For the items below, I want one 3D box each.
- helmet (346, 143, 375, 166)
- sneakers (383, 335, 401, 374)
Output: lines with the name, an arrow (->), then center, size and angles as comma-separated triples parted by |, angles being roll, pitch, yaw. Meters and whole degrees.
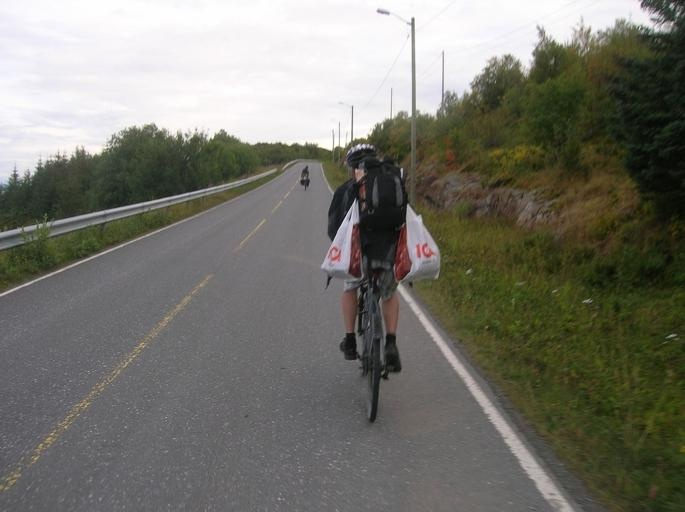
helmet -> 0.207, -1.191, 6.675 | 0.268, 0.334, 0.240 | 13, 9, 18
sneakers -> 0.550, 1.123, 6.352 | 0.176, 0.439, 0.277 | 2, 13, 5
